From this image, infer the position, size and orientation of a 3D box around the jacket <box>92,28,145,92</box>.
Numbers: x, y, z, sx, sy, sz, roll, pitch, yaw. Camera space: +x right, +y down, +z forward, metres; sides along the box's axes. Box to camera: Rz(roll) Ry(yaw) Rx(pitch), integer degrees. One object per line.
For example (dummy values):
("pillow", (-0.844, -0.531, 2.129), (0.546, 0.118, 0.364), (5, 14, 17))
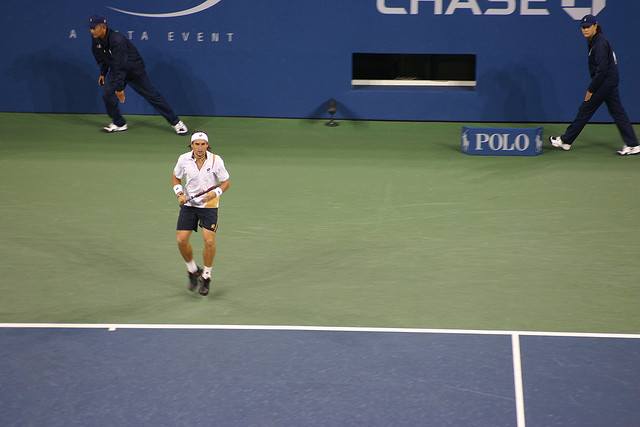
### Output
("jacket", (-4.918, -3.857, 15.799), (1.173, 1.194, 1.192), (-21, 32, -35))

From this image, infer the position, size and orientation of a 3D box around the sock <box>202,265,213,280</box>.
("sock", (-1.658, 0.853, 9.211), (0.118, 0.213, 0.102), (-3, 15, -7))

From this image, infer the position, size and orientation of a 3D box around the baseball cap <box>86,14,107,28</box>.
("baseball cap", (-5.231, -4.499, 14.898), (0.246, 0.286, 0.316), (2, 14, 13))

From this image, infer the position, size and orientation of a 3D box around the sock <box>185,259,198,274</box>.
("sock", (-1.886, 0.764, 9.311), (0.165, 0.212, 0.145), (-8, 16, -26))

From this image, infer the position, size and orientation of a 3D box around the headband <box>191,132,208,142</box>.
("headband", (-1.709, -1.073, 8.926), (0.193, 0.076, 0.159), (1, 6, 4))

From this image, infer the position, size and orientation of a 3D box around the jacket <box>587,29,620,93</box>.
("jacket", (6.215, -3.392, 14.175), (0.521, 1.366, 0.684), (13, 21, 43))

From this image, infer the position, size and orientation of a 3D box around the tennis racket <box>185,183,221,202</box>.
("tennis racket", (-1.668, -0.291, 9.042), (0.493, 0.226, 0.250), (-2, 13, -7))
